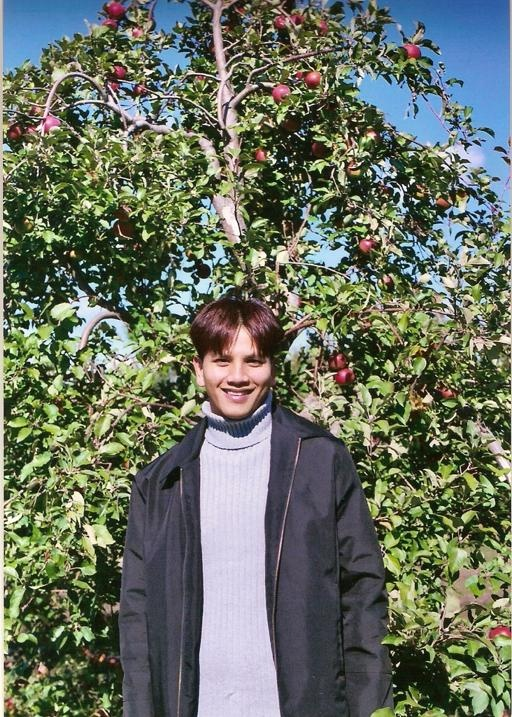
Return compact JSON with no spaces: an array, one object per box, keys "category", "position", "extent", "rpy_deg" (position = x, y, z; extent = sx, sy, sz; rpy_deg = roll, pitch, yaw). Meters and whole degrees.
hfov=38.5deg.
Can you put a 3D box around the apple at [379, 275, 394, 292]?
[{"category":"apple","position":[0.397,-0.229,2.237],"extent":[0.054,0.056,0.049],"rpy_deg":[5,-41,1]}]

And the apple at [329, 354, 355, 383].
[{"category":"apple","position":[0.260,0.032,2.274],"extent":[0.062,0.092,0.045],"rpy_deg":[13,-46,-42]}]

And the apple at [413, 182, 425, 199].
[{"category":"apple","position":[0.527,-0.539,2.368],"extent":[0.039,0.038,0.026],"rpy_deg":[9,-15,-36]}]

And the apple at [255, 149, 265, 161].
[{"category":"apple","position":[0.013,-0.676,2.446],"extent":[0.040,0.041,0.037],"rpy_deg":[1,-24,1]}]

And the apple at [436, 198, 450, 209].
[{"category":"apple","position":[0.597,-0.499,2.359],"extent":[0.039,0.039,0.035],"rpy_deg":[2,12,5]}]

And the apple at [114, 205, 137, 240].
[{"category":"apple","position":[-0.408,-0.425,2.291],"extent":[0.060,0.076,0.081],"rpy_deg":[3,-12,-11]}]

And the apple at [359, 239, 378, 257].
[{"category":"apple","position":[0.342,-0.343,2.279],"extent":[0.042,0.038,0.051],"rpy_deg":[-17,24,-12]}]
